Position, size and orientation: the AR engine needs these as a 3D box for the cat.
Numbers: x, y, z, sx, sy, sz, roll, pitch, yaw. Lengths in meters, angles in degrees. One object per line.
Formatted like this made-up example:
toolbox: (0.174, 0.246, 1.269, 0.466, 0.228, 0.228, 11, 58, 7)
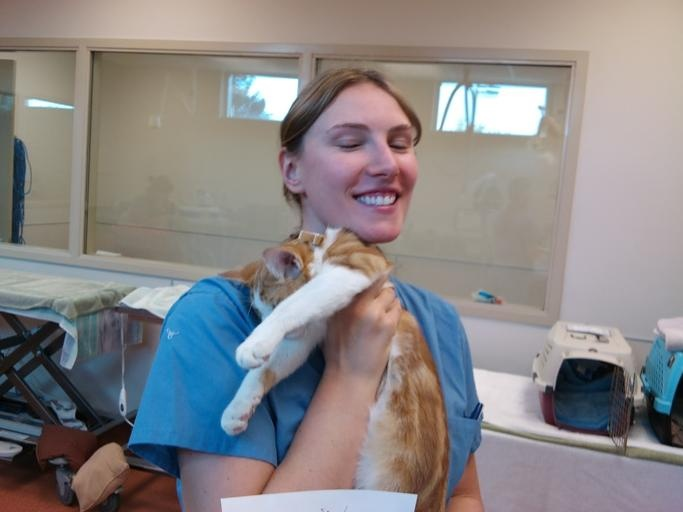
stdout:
cat: (-0.005, 0.280, 1.397, 0.592, 0.691, 0.384, 2, 10, -12)
